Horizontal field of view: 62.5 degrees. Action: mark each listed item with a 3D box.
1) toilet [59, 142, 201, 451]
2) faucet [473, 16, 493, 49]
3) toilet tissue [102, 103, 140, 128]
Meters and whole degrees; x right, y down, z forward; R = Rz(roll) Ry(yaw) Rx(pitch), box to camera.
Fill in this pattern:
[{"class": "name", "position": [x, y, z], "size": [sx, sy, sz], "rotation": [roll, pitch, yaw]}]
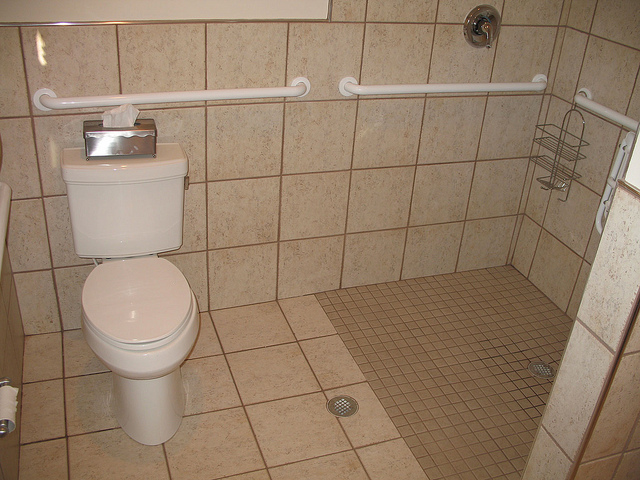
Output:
[{"class": "toilet", "position": [-0.793, 0.224, 2.440], "size": [0.569, 1.082, 0.906], "rotation": [-10, 32, -21]}, {"class": "faucet", "position": [0.887, -1.118, 2.822], "size": [0.138, 0.156, 0.051], "rotation": [-7, 31, -17]}, {"class": "toilet tissue", "position": [-0.907, -0.573, 2.400], "size": [0.149, 0.090, 0.094], "rotation": [1, 30, -4]}]
